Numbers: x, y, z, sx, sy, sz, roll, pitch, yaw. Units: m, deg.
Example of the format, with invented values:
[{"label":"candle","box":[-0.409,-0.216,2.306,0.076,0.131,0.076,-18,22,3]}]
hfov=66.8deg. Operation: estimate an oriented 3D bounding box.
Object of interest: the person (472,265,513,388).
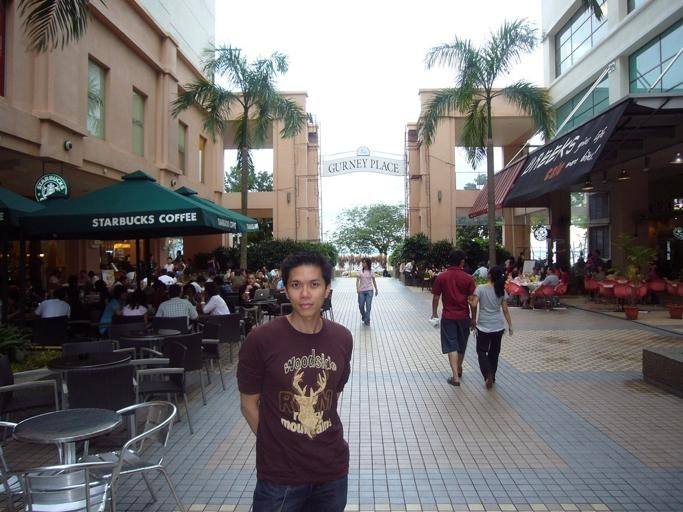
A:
[{"label":"person","box":[2.516,1.212,8.796,0.551,2.042,0.890,3,5,27]}]

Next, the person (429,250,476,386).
[{"label":"person","box":[1.911,1.065,8.971,0.702,2.302,0.780,1,4,11]}]

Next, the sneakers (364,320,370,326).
[{"label":"sneakers","box":[0.742,2.000,15.242,0.097,0.145,0.131,2,13,0]}]

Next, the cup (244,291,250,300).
[{"label":"cup","box":[-2.579,1.110,14.219,0.163,0.314,0.170,0,0,0]}]
